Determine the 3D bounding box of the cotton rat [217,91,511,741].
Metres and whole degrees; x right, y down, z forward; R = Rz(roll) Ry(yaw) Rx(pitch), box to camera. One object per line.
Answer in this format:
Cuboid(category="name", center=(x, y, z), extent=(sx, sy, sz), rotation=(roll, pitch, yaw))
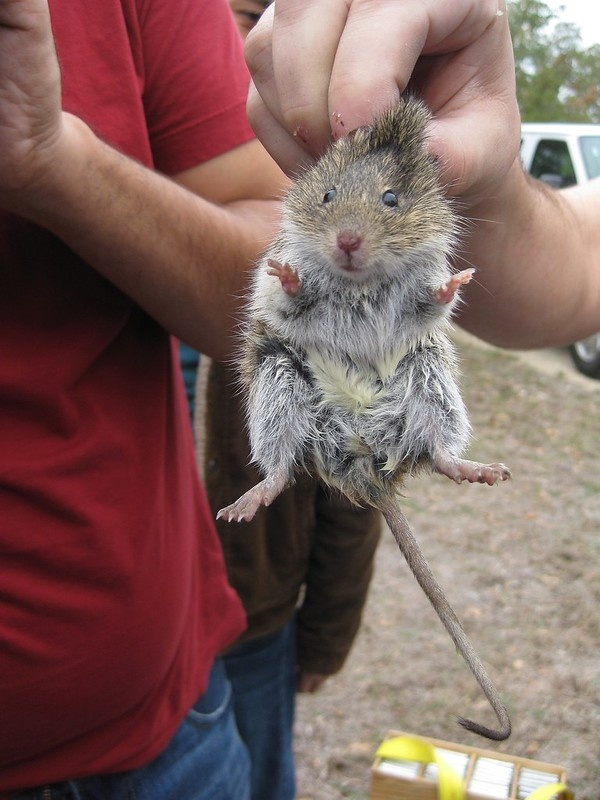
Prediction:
Cuboid(category="cotton rat", center=(0.125, -0.047, 1.395), extent=(0.519, 0.946, 0.545), rotation=(-3, 30, 4))
